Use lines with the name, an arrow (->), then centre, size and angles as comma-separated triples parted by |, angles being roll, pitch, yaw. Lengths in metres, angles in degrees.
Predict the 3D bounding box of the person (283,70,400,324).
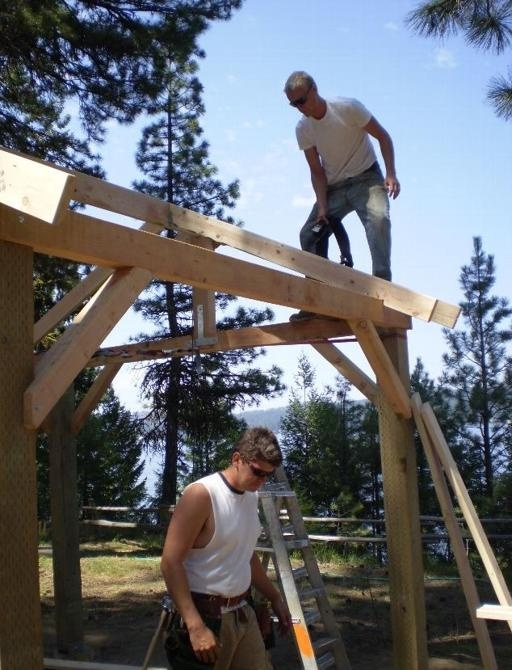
person -> 0.577, -1.091, 5.297 | 0.818, 1.459, 0.756 | -3, -7, 31

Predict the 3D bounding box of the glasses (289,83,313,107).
glasses -> 0.310, -1.679, 5.127 | 0.104, 0.121, 0.206 | 5, -8, -37

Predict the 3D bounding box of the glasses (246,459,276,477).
glasses -> 0.009, 0.567, 3.074 | 0.078, 0.025, 0.079 | 10, -4, 37

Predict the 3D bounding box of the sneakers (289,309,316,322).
sneakers -> 0.349, -0.138, 5.313 | 0.241, 0.091, 0.179 | 0, 2, 32
